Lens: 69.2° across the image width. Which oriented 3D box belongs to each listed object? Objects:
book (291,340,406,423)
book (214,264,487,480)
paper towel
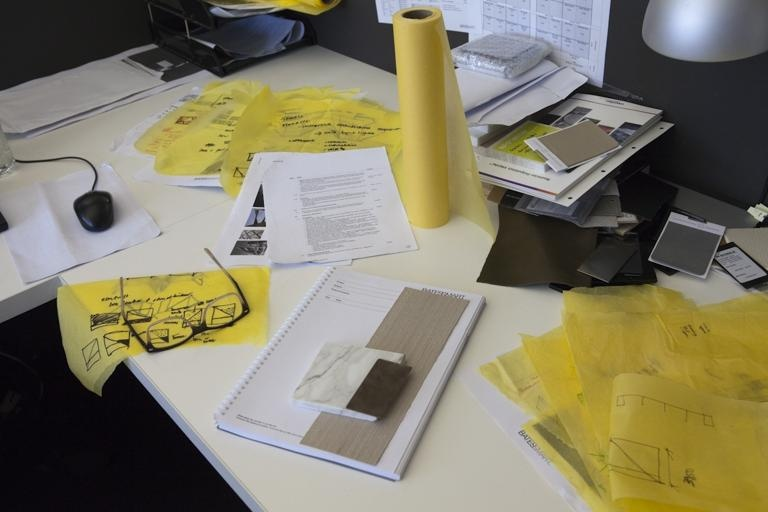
[{"bbox_3d":[-0.043,0.175,0.801,0.145,0.021,0.108,13,45,16],"label":"book"},{"bbox_3d":[-0.046,0.168,0.848,0.293,0.054,0.345,8,40,26],"label":"book"},{"bbox_3d":[0.107,-0.218,0.987,0.186,0.469,0.265,-8,36,3],"label":"paper towel"}]
